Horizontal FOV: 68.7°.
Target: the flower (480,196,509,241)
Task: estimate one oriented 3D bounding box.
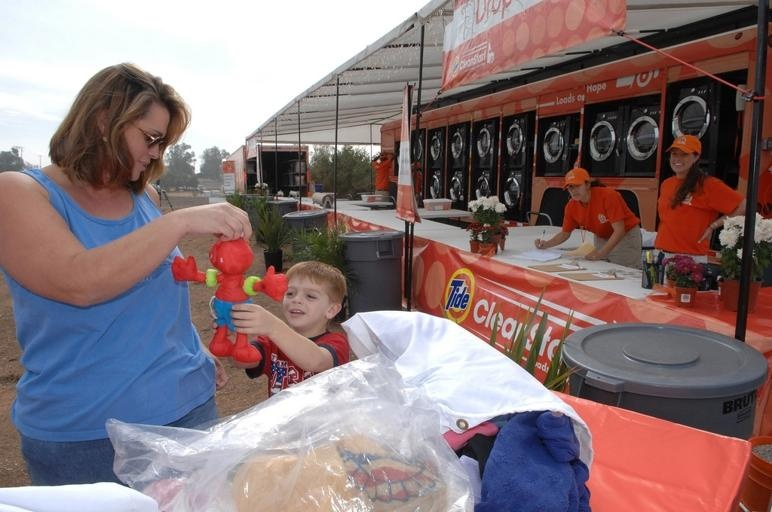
[{"bbox_3d":[0.977,-0.347,5.306,0.271,0.466,0.280,-6,14,-28],"label":"flower"}]

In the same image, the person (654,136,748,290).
[{"bbox_3d":[2.506,-0.434,4.775,0.784,1.516,0.653,-2,0,0],"label":"person"}]

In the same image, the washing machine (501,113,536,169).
[{"bbox_3d":[2.198,-1.915,9.484,0.280,0.953,0.928,-1,12,-10],"label":"washing machine"}]

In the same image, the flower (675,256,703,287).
[{"bbox_3d":[1.869,0.095,3.499,0.158,0.173,0.150,7,13,28],"label":"flower"}]

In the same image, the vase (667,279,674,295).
[{"bbox_3d":[1.820,0.202,3.610,0.073,0.065,0.073,0,10,20],"label":"vase"}]

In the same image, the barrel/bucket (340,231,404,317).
[{"bbox_3d":[-0.105,0.088,6.205,0.717,1.186,0.828,-3,5,-18],"label":"barrel/bucket"}]

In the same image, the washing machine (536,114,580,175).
[{"bbox_3d":[2.568,-1.662,8.498,0.664,1.152,0.715,-2,7,-21],"label":"washing machine"}]

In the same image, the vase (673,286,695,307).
[{"bbox_3d":[1.828,0.245,3.457,0.105,0.092,0.110,1,2,-26],"label":"vase"}]

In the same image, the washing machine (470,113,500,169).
[{"bbox_3d":[1.836,-2.059,10.446,0.259,0.938,1.047,-1,12,-10],"label":"washing machine"}]

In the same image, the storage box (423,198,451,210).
[{"bbox_3d":[0.805,-0.813,8.867,0.301,0.116,0.259,-3,9,-14],"label":"storage box"}]

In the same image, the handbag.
[{"bbox_3d":[0.216,0.369,1.901,0.321,0.270,0.794,-10,16,-43],"label":"handbag"}]

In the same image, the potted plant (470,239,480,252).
[{"bbox_3d":[0.821,-0.094,5.220,0.086,0.104,0.090,2,5,29],"label":"potted plant"}]

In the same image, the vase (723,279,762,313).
[{"bbox_3d":[2.132,0.221,3.405,0.220,0.199,0.230,-2,4,-24],"label":"vase"}]

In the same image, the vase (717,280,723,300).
[{"bbox_3d":[2.056,0.211,3.462,0.034,0.136,0.082,7,13,30],"label":"vase"}]

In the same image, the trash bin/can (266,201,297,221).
[{"bbox_3d":[-2.298,-1.101,12.352,0.559,0.368,0.752,0,2,1],"label":"trash bin/can"}]
